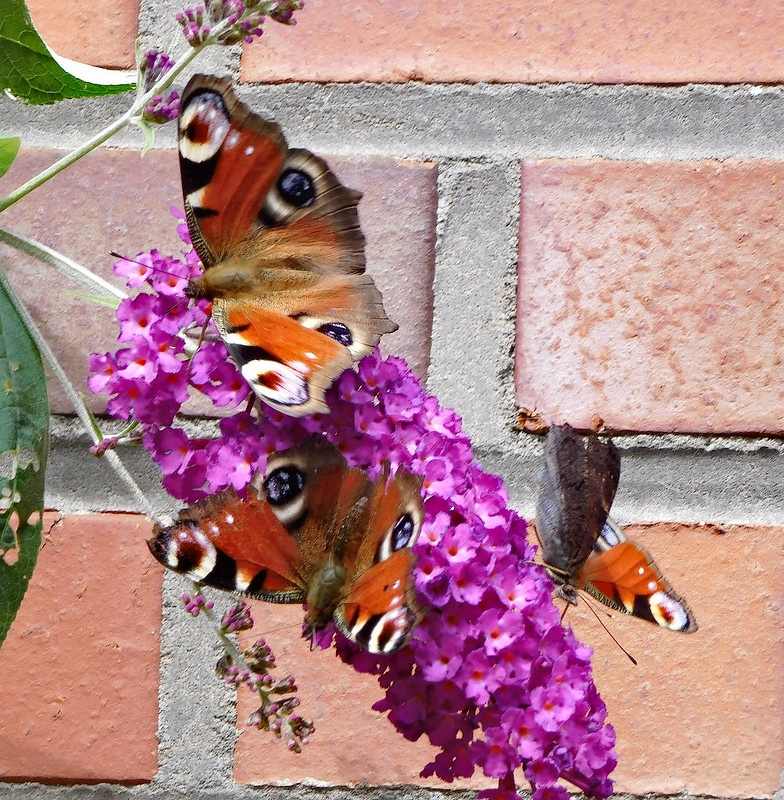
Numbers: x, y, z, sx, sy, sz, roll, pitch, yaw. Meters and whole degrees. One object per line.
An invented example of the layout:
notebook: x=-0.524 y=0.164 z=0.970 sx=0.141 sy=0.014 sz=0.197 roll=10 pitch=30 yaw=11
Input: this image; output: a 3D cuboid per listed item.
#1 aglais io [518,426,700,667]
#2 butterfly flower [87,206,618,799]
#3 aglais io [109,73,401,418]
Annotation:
aglais io: x=0.176 y=0.106 z=0.811 sx=0.083 sy=0.145 sz=0.152 roll=-38 pitch=40 yaw=0
butterfly flower: x=-0.023 y=0.044 z=0.786 sx=0.315 sy=0.303 sz=0.351 roll=-1 pitch=107 yaw=-7
aglais io: x=-0.078 y=-0.089 z=0.795 sx=0.223 sy=0.216 sz=0.234 roll=-2 pitch=71 yaw=3
